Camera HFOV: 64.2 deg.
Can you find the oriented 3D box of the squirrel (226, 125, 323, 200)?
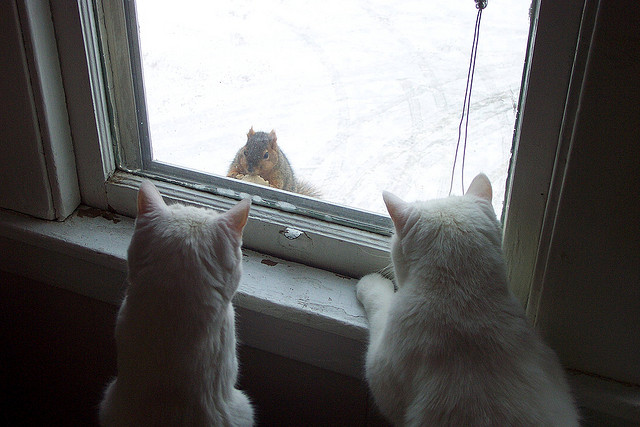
[{"bbox_3d":[-0.180,-0.169,1.679,0.188,0.181,0.369,12,-1,6],"label":"squirrel"}]

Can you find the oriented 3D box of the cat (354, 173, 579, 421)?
[{"bbox_3d":[0.302,0.236,1.248,0.333,0.605,0.295,-13,-19,7],"label":"cat"}]
